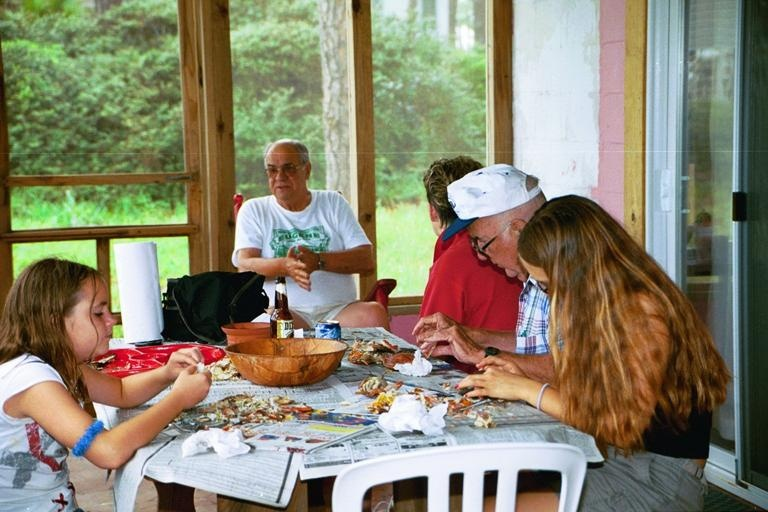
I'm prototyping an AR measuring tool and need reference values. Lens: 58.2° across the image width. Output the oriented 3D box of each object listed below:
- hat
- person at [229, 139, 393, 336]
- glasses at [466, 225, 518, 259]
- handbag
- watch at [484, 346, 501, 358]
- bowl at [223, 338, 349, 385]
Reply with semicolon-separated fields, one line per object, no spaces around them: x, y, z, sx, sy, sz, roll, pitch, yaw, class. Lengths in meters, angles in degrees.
0.412;-0.249;2.718;0.371;0.183;0.258;-21;4;17;hat
-0.424;-0.096;4.303;0.918;1.237;1.150;-7;2;-22;person
0.435;-0.043;2.757;0.131;0.040;0.122;-38;4;5;glasses
-0.749;0.211;3.023;0.304;0.158;0.376;-1;6;-32;handbag
0.392;0.350;2.530;0.051;0.045;0.034;-6;20;-33;watch
-0.351;0.373;2.416;0.402;0.119;0.398;2;3;0;bowl
